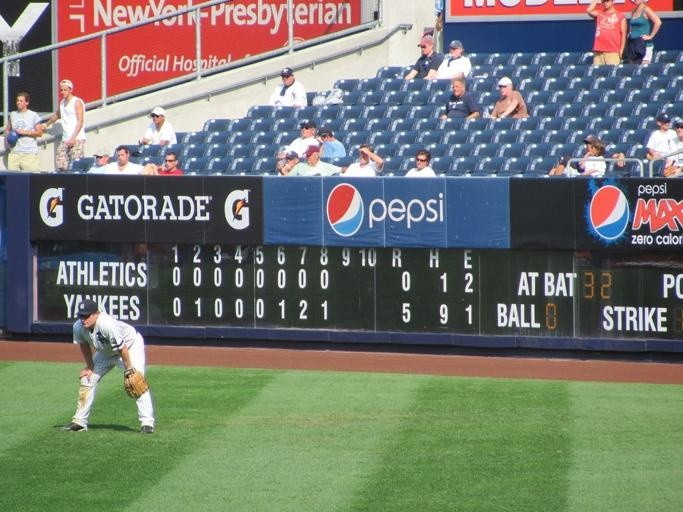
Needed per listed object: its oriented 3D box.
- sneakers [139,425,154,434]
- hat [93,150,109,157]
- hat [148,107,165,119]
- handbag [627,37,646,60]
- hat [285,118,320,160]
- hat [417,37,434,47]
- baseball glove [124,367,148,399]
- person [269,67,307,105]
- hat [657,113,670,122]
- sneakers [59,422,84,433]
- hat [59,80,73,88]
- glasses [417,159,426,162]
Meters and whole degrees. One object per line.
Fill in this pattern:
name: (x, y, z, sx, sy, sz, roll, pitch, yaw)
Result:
sneakers: (-2.593, 2.326, 22.588, 0.119, 0.049, 0.108, -5, 37, -7)
hat: (-3.977, -1.677, 28.121, 0.192, 0.141, 0.398, -2, -1, -10)
hat: (-3.235, -2.523, 29.875, 0.199, 0.174, 0.292, 0, -11, 11)
handbag: (5.214, -3.638, 30.002, 0.301, 0.469, 0.230, 6, 9, 26)
hat: (-0.600, -1.905, 28.222, 0.419, 0.592, 0.713, 2, -4, 34)
hat: (1.540, -3.858, 30.718, 0.225, 0.135, 0.182, 3, 13, -6)
baseball glove: (-2.734, 1.703, 22.492, 0.292, 0.450, 0.237, -26, 16, -4)
person: (-0.974, -2.985, 30.696, 0.699, 0.758, 0.449, 2, 1, 27)
hat: (5.059, -2.126, 26.722, 0.183, 0.100, 0.148, 11, 34, 33)
sneakers: (-3.604, 2.306, 22.679, 0.305, 0.141, 0.121, 5, -4, 3)
hat: (-4.810, -2.981, 29.549, 0.236, 0.192, 0.317, 6, 0, -6)
glasses: (1.223, -1.440, 26.020, 0.112, 0.025, 0.037, -3, -1, 1)
